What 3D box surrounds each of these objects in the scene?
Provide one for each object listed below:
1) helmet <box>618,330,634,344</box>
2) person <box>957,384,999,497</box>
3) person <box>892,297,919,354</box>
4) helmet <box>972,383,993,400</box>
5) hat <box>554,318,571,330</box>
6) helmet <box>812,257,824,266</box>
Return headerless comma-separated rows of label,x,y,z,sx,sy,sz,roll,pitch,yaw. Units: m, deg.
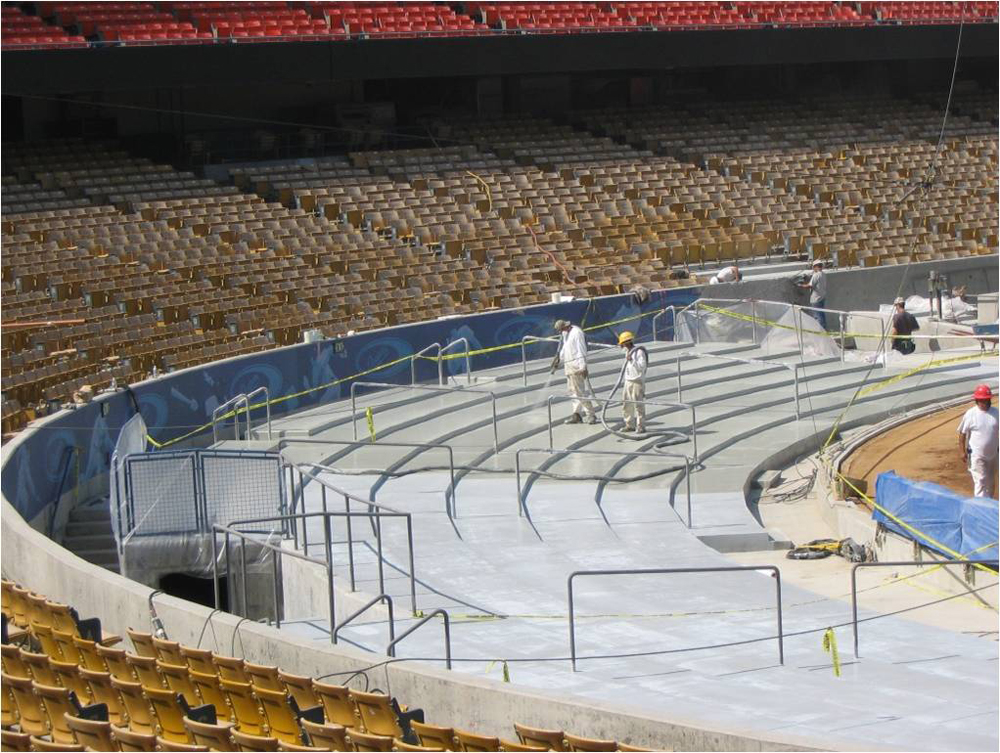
helmet,2.567,-0.747,52.755,0.329,0.128,0.324,-29,4,-31
person,8.535,1.214,48.255,0.644,1.896,0.370,-2,8,8
person,8.669,-1.027,58.090,0.557,1.140,2.511,-1,8,9
helmet,8.627,0.329,48.294,0.284,0.205,0.370,9,16,40
hat,1.306,-0.994,53.732,0.204,0.115,0.261,1,4,45
helmet,7.415,-2.572,63.168,0.375,0.114,0.366,1,7,5
